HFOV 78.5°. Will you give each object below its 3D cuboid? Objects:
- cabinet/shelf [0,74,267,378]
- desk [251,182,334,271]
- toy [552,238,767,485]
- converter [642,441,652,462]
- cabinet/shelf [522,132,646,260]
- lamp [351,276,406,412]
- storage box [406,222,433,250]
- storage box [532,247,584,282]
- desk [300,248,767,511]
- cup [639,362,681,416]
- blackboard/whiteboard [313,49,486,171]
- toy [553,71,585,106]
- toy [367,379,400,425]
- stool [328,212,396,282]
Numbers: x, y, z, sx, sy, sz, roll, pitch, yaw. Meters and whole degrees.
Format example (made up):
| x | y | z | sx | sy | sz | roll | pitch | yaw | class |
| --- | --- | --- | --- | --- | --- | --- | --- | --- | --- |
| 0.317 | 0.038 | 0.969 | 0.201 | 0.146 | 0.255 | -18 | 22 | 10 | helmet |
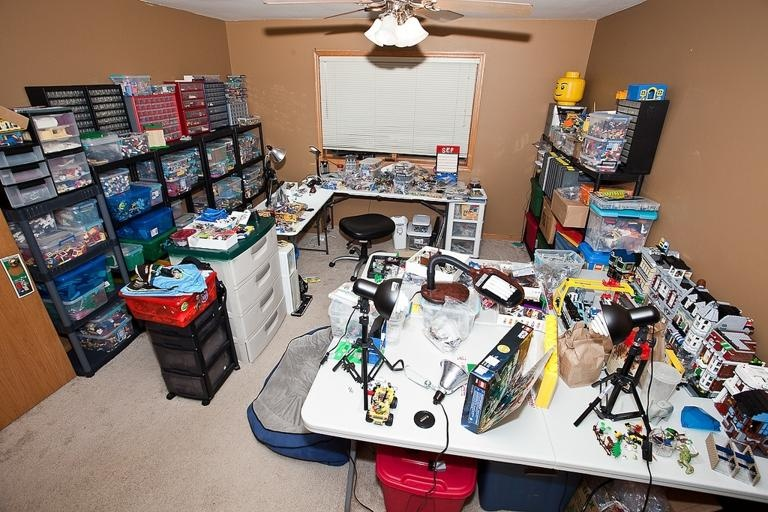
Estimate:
| x | y | z | sx | sy | sz | roll | pitch | yaw | class |
| --- | --- | --- | --- | --- | --- | --- | --- | --- | --- |
| -2.281 | -0.208 | 4.167 | 0.727 | 2.239 | 2.420 | 2 | 26 | 7 | cabinet/shelf |
| -1.029 | -0.348 | 5.303 | 0.439 | 0.513 | 1.047 | 7 | 34 | 5 | desk |
| 1.938 | 0.646 | 3.302 | 1.189 | 1.238 | 1.002 | 12 | 25 | 35 | toy |
| 1.639 | 1.223 | 2.938 | 0.077 | 0.103 | 0.035 | 1 | -10 | 10 | converter |
| 2.031 | -0.603 | 4.697 | 0.365 | 1.107 | 1.183 | 5 | 33 | 0 | cabinet/shelf |
| -0.060 | 0.522 | 3.155 | 0.349 | 0.851 | 0.527 | 18 | 30 | 29 | lamp |
| 0.479 | -0.288 | 6.087 | 0.341 | 0.331 | 0.286 | 8 | 25 | 17 | storage box |
| 1.496 | 0.054 | 4.082 | 0.377 | 0.204 | 0.254 | 4 | 32 | 11 | storage box |
| 0.793 | 1.096 | 3.641 | 2.413 | 1.148 | 1.356 | 11 | 47 | 9 | desk |
| 1.842 | 0.893 | 3.143 | 0.234 | 0.325 | 0.238 | 0 | 22 | 0 | cup |
| 0.253 | -1.932 | 6.017 | 1.630 | 1.000 | 0.083 | 4 | 30 | 6 | blackboard/whiteboard |
| 2.090 | -1.891 | 5.343 | 0.393 | 0.421 | 0.393 | 4 | 22 | 9 | toy |
| -0.008 | 0.968 | 3.108 | 0.152 | 0.110 | 0.247 | 3 | 22 | 5 | toy |
| -0.277 | -0.178 | 5.831 | 0.818 | 0.764 | 0.832 | 3 | 33 | -18 | stool |
